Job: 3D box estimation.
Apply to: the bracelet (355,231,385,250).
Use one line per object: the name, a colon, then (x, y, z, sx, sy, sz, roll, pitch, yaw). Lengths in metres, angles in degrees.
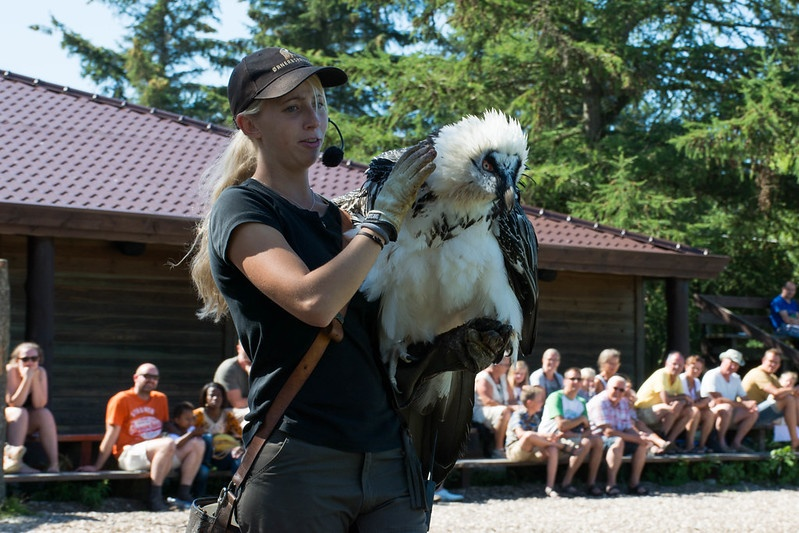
bracelet: (-0.326, -0.300, 16.781, 0.245, 0.061, 0.239, 32, -10, -18)

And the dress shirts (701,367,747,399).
dress shirts: (6.223, 2.294, 24.778, 0.584, 0.451, 0.306, 14, 0, -18)

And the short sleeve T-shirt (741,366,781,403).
short sleeve T-shirt: (7.074, 2.381, 25.183, 0.680, 0.939, 0.766, 15, 2, 13)

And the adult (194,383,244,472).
adult: (-3.147, 2.784, 22.106, 1.101, 1.450, 1.051, -1, -2, 6)

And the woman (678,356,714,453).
woman: (5.660, 2.614, 24.412, 0.675, 1.774, 1.029, 1, 8, -4)

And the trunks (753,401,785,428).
trunks: (7.122, 2.870, 24.777, 0.596, 0.558, 0.415, 0, 9, -3)

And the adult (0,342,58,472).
adult: (-6.132, 2.385, 21.555, 0.909, 2.167, 0.489, 4, -7, -19)

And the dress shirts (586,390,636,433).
dress shirts: (3.857, 2.676, 23.482, 0.850, 0.742, 0.448, 7, -4, -31)

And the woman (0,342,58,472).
woman: (-6.140, 2.386, 21.559, 0.898, 2.167, 0.496, 4, -7, -19)

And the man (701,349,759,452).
man: (6.368, 2.593, 24.741, 1.171, 1.889, 1.143, 3, -4, 4)
